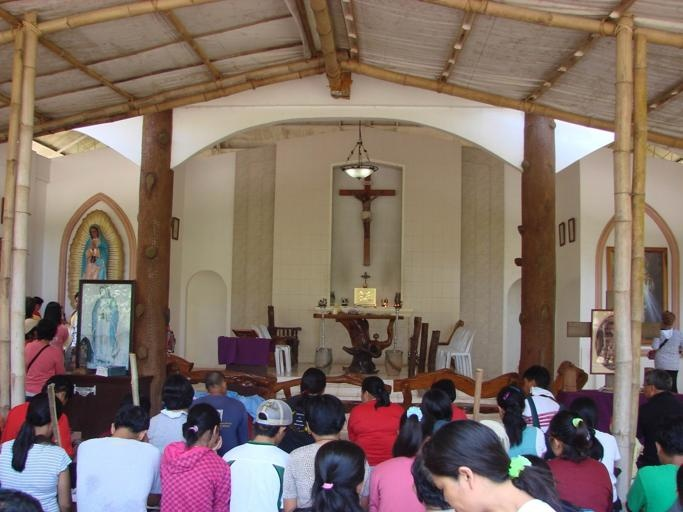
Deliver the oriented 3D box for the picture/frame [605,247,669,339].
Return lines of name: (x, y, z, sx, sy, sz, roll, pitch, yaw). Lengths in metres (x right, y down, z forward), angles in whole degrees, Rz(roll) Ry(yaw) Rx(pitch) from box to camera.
picture/frame: (4.494, 0.550, 9.276, 0.837, 1.554, 0.063, -3, -30, 27)

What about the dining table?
dining table: (0.462, 1.619, 11.370, 1.657, 1.150, 0.893, -2, 1, 30)

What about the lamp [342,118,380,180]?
lamp: (0.308, -1.986, 11.262, 0.632, 1.065, 0.603, 4, 6, 32)

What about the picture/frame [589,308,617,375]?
picture/frame: (2.756, 0.900, 6.494, 0.226, 0.694, 0.646, -2, -8, 21)

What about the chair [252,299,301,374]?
chair: (-1.441, 1.604, 12.283, 1.027, 1.735, 1.034, -1, -3, 4)

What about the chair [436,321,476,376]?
chair: (2.118, 1.805, 11.608, 0.506, 0.899, 0.756, 3, -8, -16)

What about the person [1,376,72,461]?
person: (-2.223, 1.168, 4.598, 0.479, 0.716, 0.280, 8, -22, -2)

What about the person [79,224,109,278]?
person: (-4.613, -0.090, 11.518, 0.497, 1.015, 0.151, 3, -8, -17)
